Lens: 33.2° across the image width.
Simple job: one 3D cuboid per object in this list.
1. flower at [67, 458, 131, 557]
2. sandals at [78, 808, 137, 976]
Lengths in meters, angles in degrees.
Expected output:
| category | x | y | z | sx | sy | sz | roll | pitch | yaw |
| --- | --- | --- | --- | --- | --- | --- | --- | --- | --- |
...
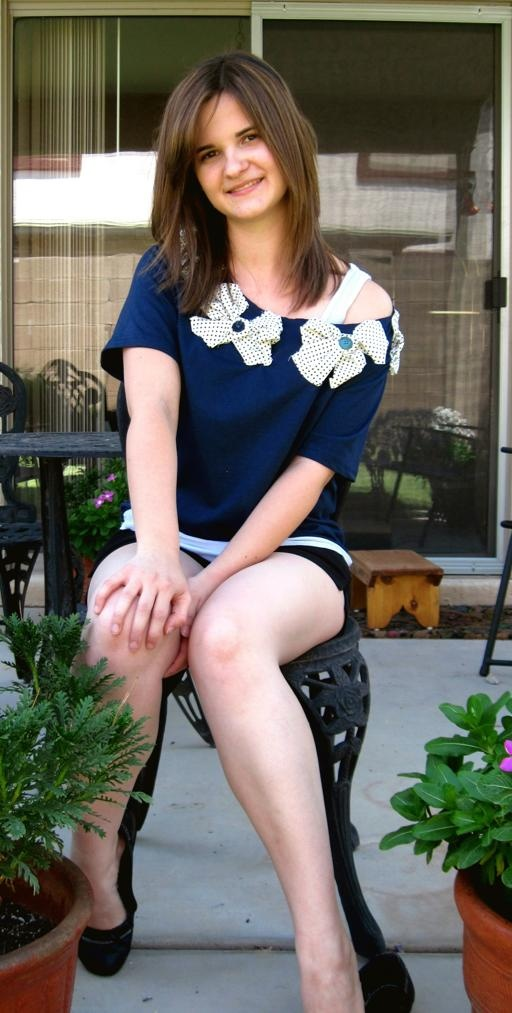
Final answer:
| category | x | y | z | sx | sy | sz | roll | pitch | yaw |
| --- | --- | --- | --- | --- | --- | --- | --- | --- | --- |
| flower | -0.597 | 0.035 | 3.180 | 0.204 | 0.158 | 0.235 | -4 | -9 | 1 |
| sandals | -0.201 | 0.519 | 1.203 | 0.065 | 0.230 | 0.085 | 9 | -19 | -27 |
